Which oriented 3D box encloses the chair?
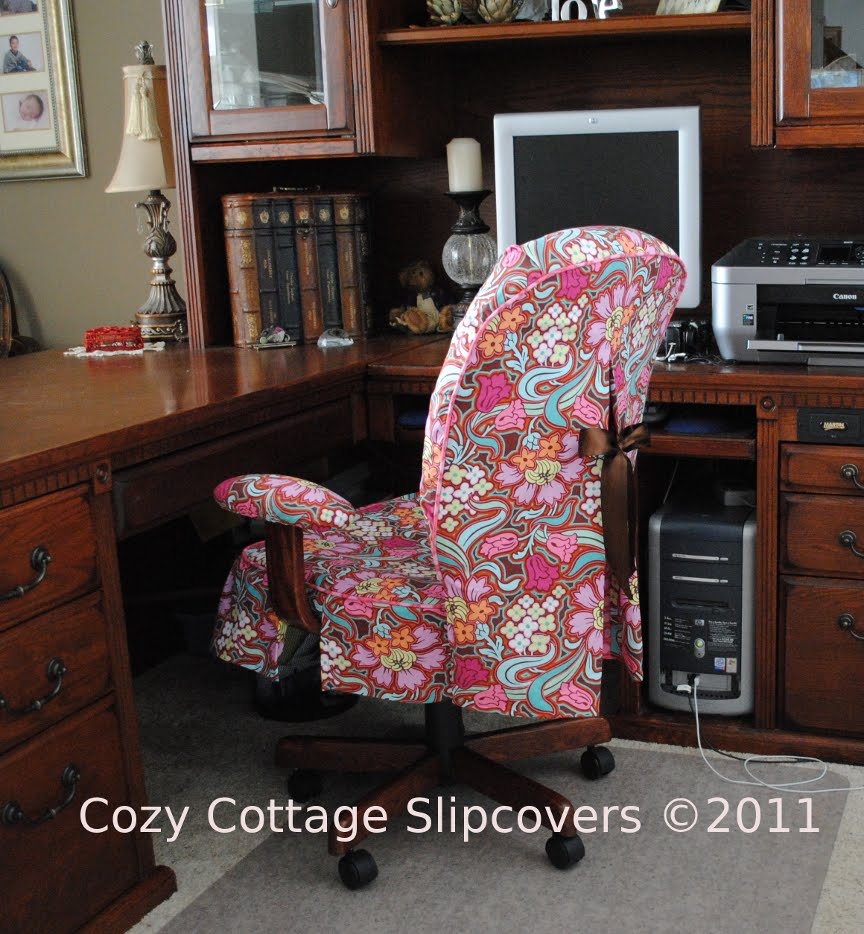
[{"bbox_3d":[0.006,0.118,1.296,0.632,0.779,0.640,-5,4,-42],"label":"chair"}]

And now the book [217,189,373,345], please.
[{"bbox_3d":[-0.325,-0.455,2.006,0.387,0.305,0.152,-10,17,-32],"label":"book"}]
